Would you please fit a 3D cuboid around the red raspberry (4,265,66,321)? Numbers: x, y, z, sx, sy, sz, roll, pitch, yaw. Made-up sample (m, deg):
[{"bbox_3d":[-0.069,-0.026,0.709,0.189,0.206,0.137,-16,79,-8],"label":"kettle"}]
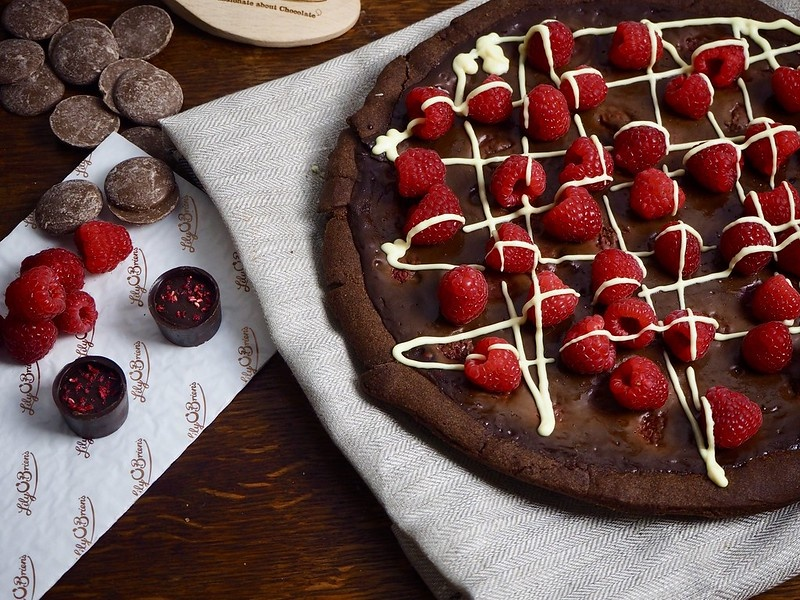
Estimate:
[{"bbox_3d":[-1.242,-0.016,2.501,0.225,0.199,0.172,15,97,-31],"label":"red raspberry"}]
